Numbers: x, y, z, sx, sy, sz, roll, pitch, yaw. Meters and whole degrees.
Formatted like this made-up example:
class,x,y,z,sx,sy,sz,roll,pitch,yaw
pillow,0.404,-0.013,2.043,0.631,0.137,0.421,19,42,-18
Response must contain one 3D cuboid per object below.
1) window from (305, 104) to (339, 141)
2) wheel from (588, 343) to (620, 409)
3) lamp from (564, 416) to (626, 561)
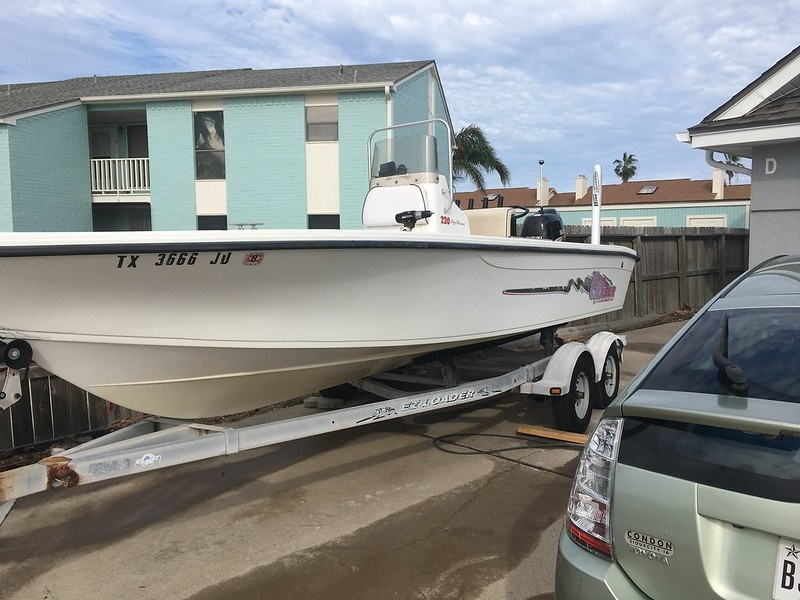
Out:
class,x,y,z,sx,sy,sz,roll,pitch,yaw
window,-1.848,-4.320,16.385,1.019,0.934,0.072,1,7,8
wheel,2.050,0.765,6.851,0.228,0.602,0.656,1,4,31
lamp,0.824,0.774,2.779,0.299,0.485,0.138,15,-2,15
